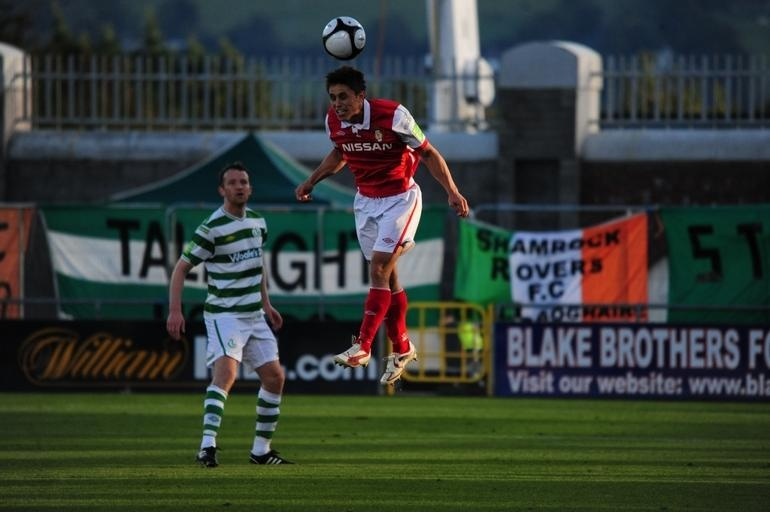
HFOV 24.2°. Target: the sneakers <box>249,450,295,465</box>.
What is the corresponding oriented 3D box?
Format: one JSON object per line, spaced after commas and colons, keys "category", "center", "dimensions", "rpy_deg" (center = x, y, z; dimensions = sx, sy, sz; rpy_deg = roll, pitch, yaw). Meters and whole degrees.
{"category": "sneakers", "center": [-1.553, 2.720, 24.673], "dimensions": [0.620, 0.279, 0.224], "rpy_deg": [0, -2, -7]}
